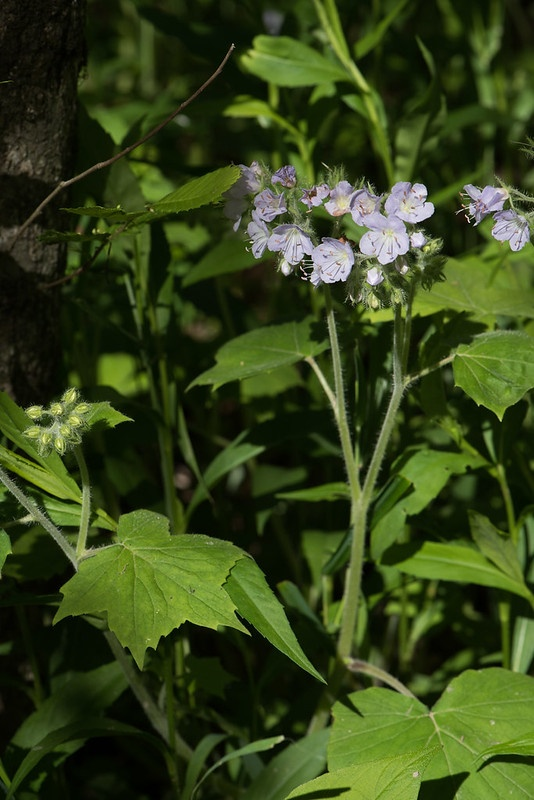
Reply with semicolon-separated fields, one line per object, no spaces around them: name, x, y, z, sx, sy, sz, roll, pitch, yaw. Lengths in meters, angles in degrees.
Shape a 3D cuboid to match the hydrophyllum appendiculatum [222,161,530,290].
hydrophyllum appendiculatum;0.148;-0.214;1.061;0.424;0.128;0.176;5;72;0
